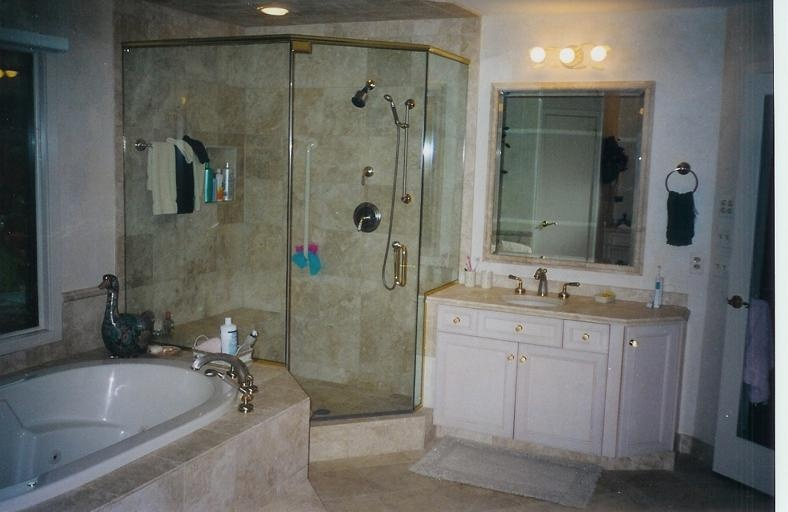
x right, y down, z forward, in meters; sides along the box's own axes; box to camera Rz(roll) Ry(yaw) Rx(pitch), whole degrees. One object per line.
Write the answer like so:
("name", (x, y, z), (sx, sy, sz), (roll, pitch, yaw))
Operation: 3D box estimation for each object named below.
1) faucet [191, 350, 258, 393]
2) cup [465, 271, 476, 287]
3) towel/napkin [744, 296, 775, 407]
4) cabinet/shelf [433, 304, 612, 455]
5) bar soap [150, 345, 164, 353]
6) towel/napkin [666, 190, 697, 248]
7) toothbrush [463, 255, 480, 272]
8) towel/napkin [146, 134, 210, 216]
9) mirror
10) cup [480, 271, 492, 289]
("faucet", (-1.066, 0.687, 3.904), (0.470, 0.232, 0.096), (14, 21, 26))
("cup", (0.608, 0.180, 5.163), (0.111, 0.120, 0.108), (1, 9, 0))
("towel/napkin", (1.019, 0.264, 1.808), (0.043, 0.299, 0.110), (2, 7, -5))
("cabinet/shelf", (0.983, 0.881, 4.672), (1.127, 0.795, 0.429), (2, 3, 17))
("bar soap", (-1.676, 0.652, 4.491), (0.061, 0.014, 0.055), (11, 18, 12))
("towel/napkin", (2.088, -0.286, 4.699), (0.210, 0.401, 0.047), (1, 1, -6))
("toothbrush", (0.626, 0.058, 5.232), (0.159, 0.145, 0.087), (2, -4, -3))
("towel/napkin", (-1.647, -0.606, 4.881), (0.557, 0.534, 0.165), (-1, 2, -3))
("mirror", (1.402, -0.642, 4.933), (1.511, 1.728, 0.076), (4, 9, 21))
("cup", (0.736, 0.184, 5.055), (0.123, 0.129, 0.110), (2, 3, 33))
